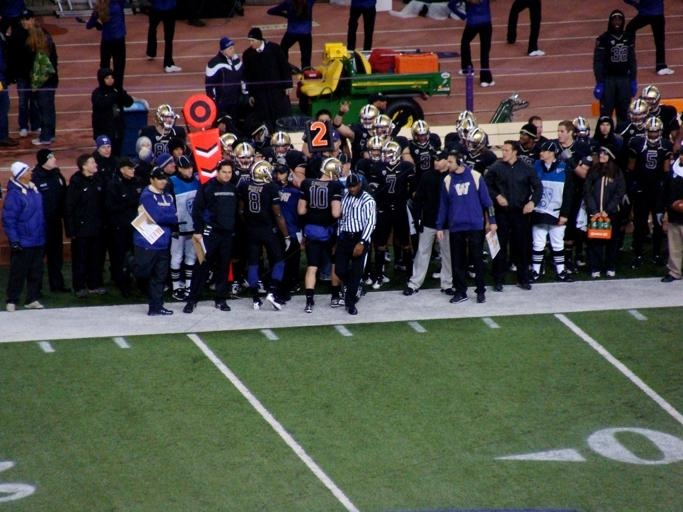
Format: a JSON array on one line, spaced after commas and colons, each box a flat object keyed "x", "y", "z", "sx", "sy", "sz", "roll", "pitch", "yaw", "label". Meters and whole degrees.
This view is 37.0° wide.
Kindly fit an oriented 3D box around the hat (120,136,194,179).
[{"x": -2.866, "y": -1.539, "z": 16.000, "sx": 0.755, "sy": 0.344, "sz": 0.996, "roll": 2, "pitch": 23, "yaw": -7, "label": "hat"}]

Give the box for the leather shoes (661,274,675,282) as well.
[{"x": 5.245, "y": 0.339, "z": 16.394, "sx": 0.212, "sy": 0.115, "sz": 0.298, "roll": 5, "pitch": 12, "yaw": 20, "label": "leather shoes"}]

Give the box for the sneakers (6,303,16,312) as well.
[{"x": -4.977, "y": 0.750, "z": 15.353, "sx": 0.138, "sy": 0.124, "sz": 0.238, "roll": -3, "pitch": 12, "yaw": -19, "label": "sneakers"}]

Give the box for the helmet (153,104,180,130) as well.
[{"x": -2.796, "y": -2.255, "z": 16.735, "sx": 0.518, "sy": 0.484, "sz": 0.568, "roll": -2, "pitch": 8, "yaw": -32, "label": "helmet"}]

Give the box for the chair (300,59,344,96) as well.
[{"x": -0.366, "y": -3.599, "z": 20.579, "sx": 0.805, "sy": 0.775, "sz": 0.883, "roll": 6, "pitch": 3, "yaw": -24, "label": "chair"}]

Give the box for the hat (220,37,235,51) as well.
[{"x": -2.182, "y": -4.004, "z": 19.242, "sx": 0.203, "sy": 0.239, "sz": 0.386, "roll": 0, "pitch": 11, "yaw": -6, "label": "hat"}]

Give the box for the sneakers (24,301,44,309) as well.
[{"x": -4.654, "y": 0.736, "z": 15.499, "sx": 0.221, "sy": 0.089, "sz": 0.118, "roll": -1, "pitch": 6, "yaw": 6, "label": "sneakers"}]

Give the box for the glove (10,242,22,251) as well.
[{"x": -4.814, "y": -0.144, "z": 15.066, "sx": 0.110, "sy": 0.107, "sz": 0.110, "roll": 2, "pitch": 9, "yaw": 14, "label": "glove"}]

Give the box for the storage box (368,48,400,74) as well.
[{"x": 0.837, "y": -4.020, "z": 21.014, "sx": 0.486, "sy": 0.224, "sz": 0.642, "roll": -2, "pitch": 20, "yaw": -2, "label": "storage box"}]

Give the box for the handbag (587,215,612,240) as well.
[{"x": 4.097, "y": -0.461, "z": 16.275, "sx": 0.382, "sy": 0.363, "sz": 0.376, "roll": 1, "pitch": 4, "yaw": 8, "label": "handbag"}]

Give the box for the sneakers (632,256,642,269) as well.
[{"x": 4.921, "y": 0.106, "z": 17.029, "sx": 0.107, "sy": 0.197, "sz": 0.304, "roll": 9, "pitch": 20, "yaw": 29, "label": "sneakers"}]

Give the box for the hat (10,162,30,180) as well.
[{"x": -4.745, "y": -1.269, "z": 15.089, "sx": 0.250, "sy": 0.232, "sz": 0.293, "roll": -2, "pitch": 11, "yaw": -17, "label": "hat"}]

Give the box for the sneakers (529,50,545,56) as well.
[{"x": 4.716, "y": -4.897, "z": 24.611, "sx": 0.386, "sy": 0.135, "sz": 0.159, "roll": -3, "pitch": 1, "yaw": 1, "label": "sneakers"}]

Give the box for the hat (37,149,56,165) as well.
[{"x": -4.488, "y": -1.528, "z": 15.509, "sx": 0.291, "sy": 0.260, "sz": 0.231, "roll": -5, "pitch": 26, "yaw": -10, "label": "hat"}]

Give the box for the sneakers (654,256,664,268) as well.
[{"x": 5.301, "y": 0.097, "z": 17.083, "sx": 0.236, "sy": 0.163, "sz": 0.093, "roll": 7, "pitch": 27, "yaw": 29, "label": "sneakers"}]

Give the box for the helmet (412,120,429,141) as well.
[{"x": 1.281, "y": -2.033, "z": 16.333, "sx": 0.264, "sy": 0.319, "sz": 0.282, "roll": -6, "pitch": -7, "yaw": -5, "label": "helmet"}]

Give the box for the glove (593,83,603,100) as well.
[{"x": 5.007, "y": -3.226, "z": 19.947, "sx": 0.187, "sy": 0.302, "sz": 0.074, "roll": 19, "pitch": 5, "yaw": 8, "label": "glove"}]

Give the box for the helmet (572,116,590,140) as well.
[{"x": 3.942, "y": -2.103, "z": 16.865, "sx": 0.288, "sy": 0.360, "sz": 0.588, "roll": 4, "pitch": 11, "yaw": 12, "label": "helmet"}]

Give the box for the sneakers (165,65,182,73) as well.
[{"x": -3.846, "y": -4.311, "z": 23.340, "sx": 0.421, "sy": 0.173, "sz": 0.150, "roll": -6, "pitch": 38, "yaw": -8, "label": "sneakers"}]

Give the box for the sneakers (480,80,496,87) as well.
[{"x": 3.213, "y": -3.813, "z": 22.588, "sx": 0.327, "sy": 0.130, "sz": 0.233, "roll": 0, "pitch": 11, "yaw": -9, "label": "sneakers"}]

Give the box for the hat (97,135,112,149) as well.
[{"x": -3.731, "y": -1.789, "z": 15.963, "sx": 0.160, "sy": 0.174, "sz": 0.273, "roll": -4, "pitch": 12, "yaw": -24, "label": "hat"}]
